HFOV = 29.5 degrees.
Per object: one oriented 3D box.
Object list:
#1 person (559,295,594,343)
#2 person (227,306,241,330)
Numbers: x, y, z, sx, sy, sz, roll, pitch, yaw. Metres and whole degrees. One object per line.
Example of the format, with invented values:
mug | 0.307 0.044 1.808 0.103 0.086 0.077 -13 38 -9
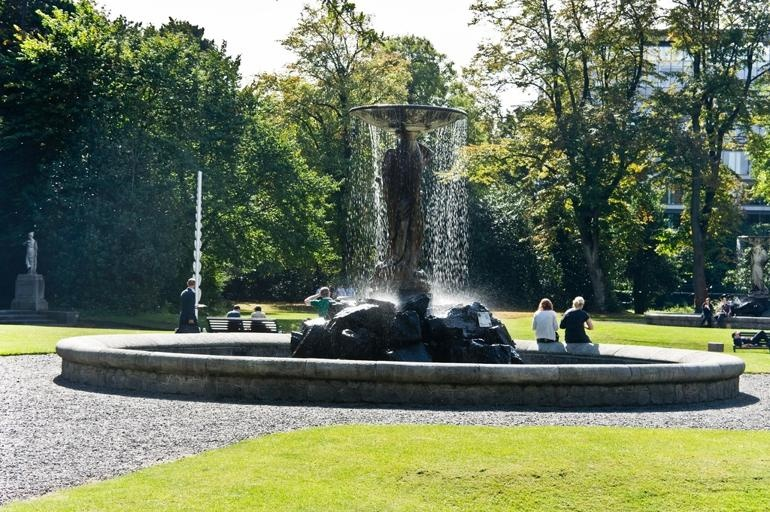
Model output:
person | 7.635 2.565 58.823 1.104 1.873 1.122 -4 -6 29
person | -6.602 2.731 64.368 0.621 1.182 1.807 0 -5 -6
